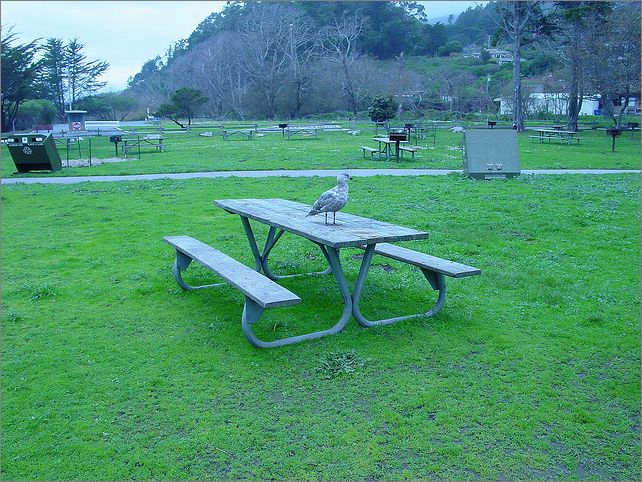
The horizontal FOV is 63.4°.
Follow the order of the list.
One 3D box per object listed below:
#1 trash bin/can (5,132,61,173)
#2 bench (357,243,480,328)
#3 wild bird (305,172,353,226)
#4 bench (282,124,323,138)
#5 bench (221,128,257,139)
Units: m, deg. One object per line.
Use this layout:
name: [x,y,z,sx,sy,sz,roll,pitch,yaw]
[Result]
trash bin/can: [-11.046,-3.393,19.789,1.552,1.485,1.050,-7,14,-17]
bench: [1.037,0.436,6.881,1.224,0.369,1.688,-4,10,-19]
wild bird: [0.155,-0.569,6.875,0.484,0.678,0.629,-2,13,8]
bench: [-1.267,-9.777,45.110,3.083,1.112,15.330,-3,12,0]
bench: [-6.707,-8.722,41.882,2.268,0.886,9.349,-5,12,-10]
